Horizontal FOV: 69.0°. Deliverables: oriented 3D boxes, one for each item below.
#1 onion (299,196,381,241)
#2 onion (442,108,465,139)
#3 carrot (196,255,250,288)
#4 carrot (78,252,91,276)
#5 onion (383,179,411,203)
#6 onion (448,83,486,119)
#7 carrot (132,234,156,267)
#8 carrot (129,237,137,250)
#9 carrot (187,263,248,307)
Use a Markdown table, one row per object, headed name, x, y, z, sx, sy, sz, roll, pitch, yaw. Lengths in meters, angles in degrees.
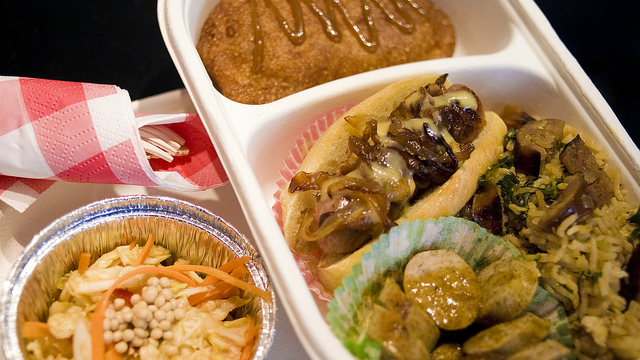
| name | x | y | z | sx | sy | sz | roll | pitch | yaw |
| --- | --- | --- | --- | --- | --- | --- | --- | --- | --- |
| onion | 0.089 | 0.178 | 2.179 | 0.304 | 0.101 | 0.222 | -18 | 7 | -17 |
| onion | 0.668 | -0.288 | 2.311 | 0.094 | 0.140 | 0.034 | -23 | 6 | -11 |
| carrot | -0.475 | 0.460 | 2.326 | 0.231 | 0.036 | 0.053 | -33 | 68 | -20 |
| carrot | -1.184 | 0.416 | 2.339 | 0.074 | 0.098 | 0.049 | -16 | 29 | -24 |
| onion | 0.371 | 0.047 | 2.199 | 0.112 | 0.060 | 0.104 | -15 | 79 | -11 |
| onion | 0.761 | -0.423 | 2.355 | 0.185 | 0.068 | 0.176 | 49 | 15 | 32 |
| carrot | -0.886 | 0.367 | 2.355 | 0.049 | 0.040 | 0.186 | 26 | 75 | 24 |
| carrot | -0.960 | 0.326 | 2.393 | 0.028 | 0.011 | 0.047 | -1 | 54 | 3 |
| carrot | -0.508 | 0.532 | 2.331 | 0.355 | 0.070 | 0.094 | -24 | 67 | -16 |
